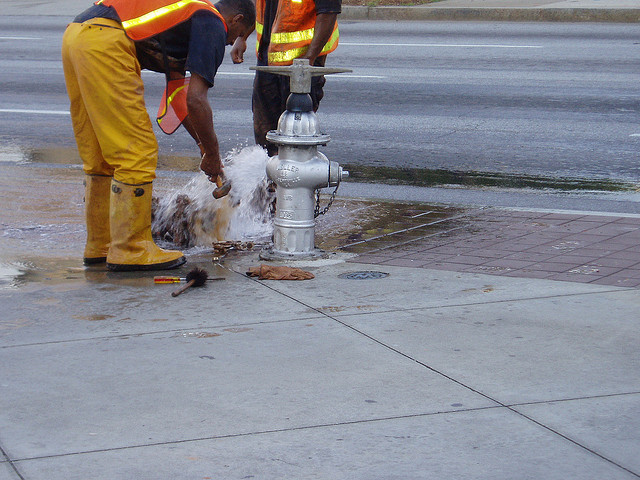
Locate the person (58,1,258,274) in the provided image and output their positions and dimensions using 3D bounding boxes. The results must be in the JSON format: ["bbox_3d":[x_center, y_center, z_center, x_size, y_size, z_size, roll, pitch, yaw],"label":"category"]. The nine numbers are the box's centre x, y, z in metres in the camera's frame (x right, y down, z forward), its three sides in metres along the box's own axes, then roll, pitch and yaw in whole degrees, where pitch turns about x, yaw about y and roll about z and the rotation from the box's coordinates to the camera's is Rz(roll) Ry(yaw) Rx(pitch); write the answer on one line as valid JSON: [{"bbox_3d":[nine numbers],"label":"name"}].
[{"bbox_3d":[-1.040,-0.642,5.342,0.973,1.656,0.794,-4,20,-15],"label":"person"}]

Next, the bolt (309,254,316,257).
[{"bbox_3d":[-0.048,0.096,5.489,0.030,0.015,0.005,-2,-17,-9],"label":"bolt"}]

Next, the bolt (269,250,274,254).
[{"bbox_3d":[-0.310,0.078,5.591,0.036,0.017,0.008,-2,11,4],"label":"bolt"}]

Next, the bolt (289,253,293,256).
[{"bbox_3d":[-0.180,0.094,5.455,0.033,0.016,0.008,-1,-6,11],"label":"bolt"}]

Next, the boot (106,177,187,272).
[{"bbox_3d":[-1.066,-0.089,5.262,0.472,0.571,0.185,-1,20,-6],"label":"boot"}]

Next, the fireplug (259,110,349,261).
[{"bbox_3d":[-0.103,-0.343,5.479,0.562,0.960,0.439,0,19,-2],"label":"fireplug"}]
